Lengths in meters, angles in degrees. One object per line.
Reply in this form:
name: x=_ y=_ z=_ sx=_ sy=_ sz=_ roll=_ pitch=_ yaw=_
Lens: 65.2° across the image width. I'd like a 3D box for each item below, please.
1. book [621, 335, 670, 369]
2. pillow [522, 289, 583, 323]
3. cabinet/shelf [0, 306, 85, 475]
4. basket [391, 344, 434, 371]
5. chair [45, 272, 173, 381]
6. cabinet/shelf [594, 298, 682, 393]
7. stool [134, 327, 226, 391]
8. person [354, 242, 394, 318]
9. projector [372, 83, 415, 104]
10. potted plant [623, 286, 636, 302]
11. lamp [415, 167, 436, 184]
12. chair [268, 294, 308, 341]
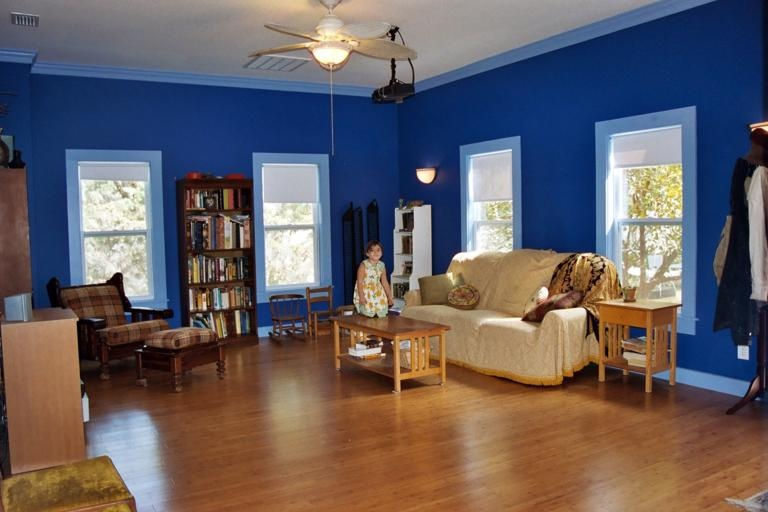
book: x=2.789 y=1.045 z=6.516 sx=0.400 sy=0.228 sz=0.378 roll=-2 pitch=1 yaw=-40
pillow: x=1.912 y=0.594 z=6.815 sx=0.653 sy=0.362 sz=0.311 roll=1 pitch=11 yaw=14
cabinet/shelf: x=-2.852 y=1.150 z=4.974 sx=0.560 sy=1.179 sz=1.314 roll=-3 pitch=6 yaw=-31
basket: x=0.295 y=1.093 z=6.712 sx=0.311 sy=0.190 sz=0.311 roll=-3 pitch=6 yaw=-31
chair: x=-3.499 y=0.857 z=7.887 sx=1.523 sy=1.313 sz=1.167 roll=2 pitch=5 yaw=37
cabinet/shelf: x=2.773 y=0.938 z=6.592 sx=0.779 sy=0.936 sz=0.674 roll=5 pitch=13 yaw=32
stool: x=-2.360 y=1.097 z=7.017 sx=0.708 sy=0.657 sz=0.960 roll=-1 pitch=2 yaw=26
person: x=-0.142 y=0.269 z=7.245 sx=0.447 sy=0.914 sz=0.377 roll=-2 pitch=12 yaw=-3
projector: x=0.109 y=-2.025 z=7.431 sx=0.287 sy=0.176 sz=0.460 roll=-2 pitch=3 yaw=-35
potted plant: x=2.653 y=0.418 z=6.503 sx=0.148 sy=0.108 sz=0.148 roll=-2 pitch=-4 yaw=34
lamp: x=0.624 y=-1.273 z=9.554 sx=0.243 sy=0.277 sz=0.399 roll=-8 pitch=13 yaw=-29
chair: x=-1.455 y=0.953 z=9.075 sx=0.548 sy=0.668 sz=0.608 roll=-1 pitch=5 yaw=-22
